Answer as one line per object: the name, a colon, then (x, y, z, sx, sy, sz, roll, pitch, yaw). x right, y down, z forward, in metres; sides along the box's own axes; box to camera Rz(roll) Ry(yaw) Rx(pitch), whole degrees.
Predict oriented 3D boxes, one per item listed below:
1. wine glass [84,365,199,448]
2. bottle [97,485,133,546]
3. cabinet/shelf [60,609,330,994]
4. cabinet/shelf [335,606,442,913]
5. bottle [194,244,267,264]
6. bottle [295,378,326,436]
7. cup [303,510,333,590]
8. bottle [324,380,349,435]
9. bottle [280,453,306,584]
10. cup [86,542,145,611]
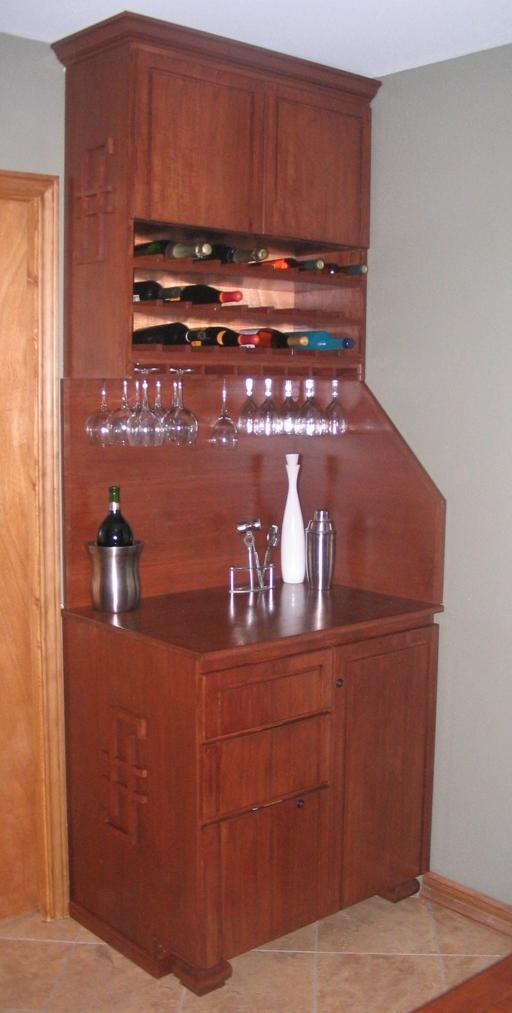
wine glass: (-0.305, -0.241, 2.148, 0.206, 0.175, 0.227, 0, 5, -3)
bottle: (-0.388, 0.025, 2.217, 0.097, 0.164, 0.235, 0, 0, -12)
cabinet/shelf: (-0.041, 0.660, 2.409, 0.738, 1.144, 0.721, 1, 2, 41)
cabinet/shelf: (0.388, 0.830, 2.392, 0.285, 0.651, 0.352, -2, -17, 4)
bottle: (-0.070, -0.658, 2.097, 0.190, 0.059, 0.052, 14, 35, 34)
bottle: (0.166, -0.299, 2.376, 0.078, 0.172, 0.156, 1, 0, 4)
cup: (0.202, 0.140, 2.552, 0.095, 0.254, 0.110, 1, 0, 7)
bottle: (0.254, -0.314, 2.503, 0.062, 0.182, 0.274, 1, 0, 7)
bottle: (0.124, 0.042, 2.676, 0.083, 0.427, 0.178, 1, 0, 2)
cup: (-0.360, 0.171, 2.197, 0.147, 0.207, 0.167, 1, 5, 12)
